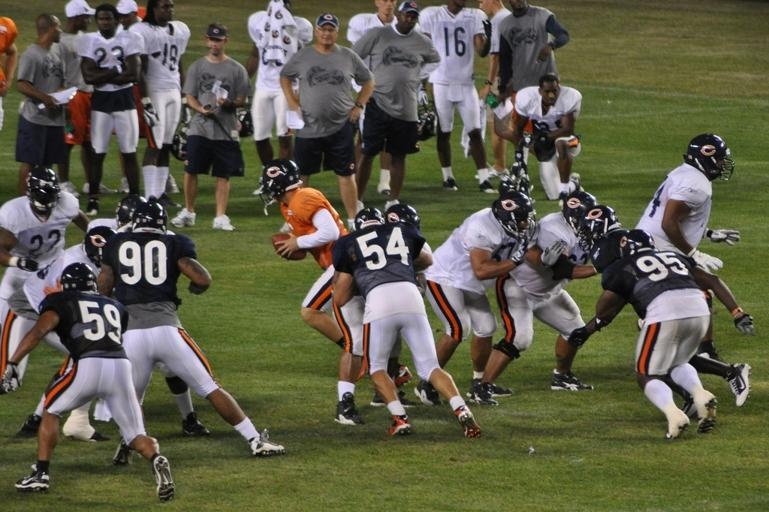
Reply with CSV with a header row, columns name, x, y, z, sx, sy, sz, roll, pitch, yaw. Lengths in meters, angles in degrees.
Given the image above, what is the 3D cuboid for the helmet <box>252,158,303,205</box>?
name,x,y,z,sx,sy,sz,roll,pitch,yaw
helmet,-1.039,-0.725,12.814,0.491,0.409,0.358,-6,12,21

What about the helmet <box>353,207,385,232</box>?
name,x,y,z,sx,sy,sz,roll,pitch,yaw
helmet,-0.137,-0.338,11.990,0.193,0.208,0.239,-4,2,-14

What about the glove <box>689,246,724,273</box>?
name,x,y,z,sx,sy,sz,roll,pitch,yaw
glove,3.079,0.045,12.769,0.501,0.220,0.245,-7,11,-39

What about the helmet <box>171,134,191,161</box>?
name,x,y,z,sx,sy,sz,roll,pitch,yaw
helmet,-2.568,-1.349,16.651,0.334,0.334,0.385,1,9,-3

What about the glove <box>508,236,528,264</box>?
name,x,y,z,sx,sy,sz,roll,pitch,yaw
glove,1.227,-0.045,12.104,0.170,0.218,0.354,1,9,5

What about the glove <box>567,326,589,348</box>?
name,x,y,z,sx,sy,sz,roll,pitch,yaw
glove,1.754,0.737,12.073,0.203,0.139,0.091,-29,12,10

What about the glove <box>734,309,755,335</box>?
name,x,y,z,sx,sy,sz,roll,pitch,yaw
glove,3.343,0.617,12.342,0.169,0.254,0.291,2,9,13

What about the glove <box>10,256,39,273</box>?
name,x,y,z,sx,sy,sz,roll,pitch,yaw
glove,-3.332,0.081,12.298,0.208,0.121,0.080,19,-40,-37

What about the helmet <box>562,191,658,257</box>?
name,x,y,z,sx,sy,sz,roll,pitch,yaw
helmet,1.907,-0.277,12.203,0.337,0.594,0.502,-5,10,-30

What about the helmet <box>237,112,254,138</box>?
name,x,y,z,sx,sy,sz,roll,pitch,yaw
helmet,-1.825,-1.708,17.441,0.273,0.301,0.292,6,3,-17

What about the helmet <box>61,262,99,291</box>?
name,x,y,z,sx,sy,sz,roll,pitch,yaw
helmet,-2.567,0.181,11.146,0.207,0.219,0.285,1,12,39

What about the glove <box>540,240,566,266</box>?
name,x,y,z,sx,sy,sz,roll,pitch,yaw
glove,1.545,-0.016,12.099,0.150,0.255,0.067,43,5,13

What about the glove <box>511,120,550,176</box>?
name,x,y,z,sx,sy,sz,roll,pitch,yaw
glove,1.803,-1.384,16.952,0.350,0.641,0.490,20,25,-2

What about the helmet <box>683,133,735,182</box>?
name,x,y,z,sx,sy,sz,roll,pitch,yaw
helmet,3.280,-0.963,13.052,0.567,0.449,0.429,3,17,3

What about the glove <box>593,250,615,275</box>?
name,x,y,z,sx,sy,sz,roll,pitch,yaw
glove,1.977,0.064,11.921,0.202,0.178,0.124,2,9,12

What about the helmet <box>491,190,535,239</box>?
name,x,y,z,sx,sy,sz,roll,pitch,yaw
helmet,1.178,-0.366,12.071,0.381,0.424,0.251,1,9,4

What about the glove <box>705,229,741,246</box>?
name,x,y,z,sx,sy,sz,roll,pitch,yaw
glove,3.364,-0.137,13.187,0.288,0.128,0.278,3,29,-46

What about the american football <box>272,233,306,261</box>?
name,x,y,z,sx,sy,sz,roll,pitch,yaw
american football,-0.895,-0.092,12.557,0.232,0.169,0.300,5,0,6

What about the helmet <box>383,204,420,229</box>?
name,x,y,z,sx,sy,sz,roll,pitch,yaw
helmet,0.166,-0.347,12.121,0.309,0.219,0.414,0,9,-2
